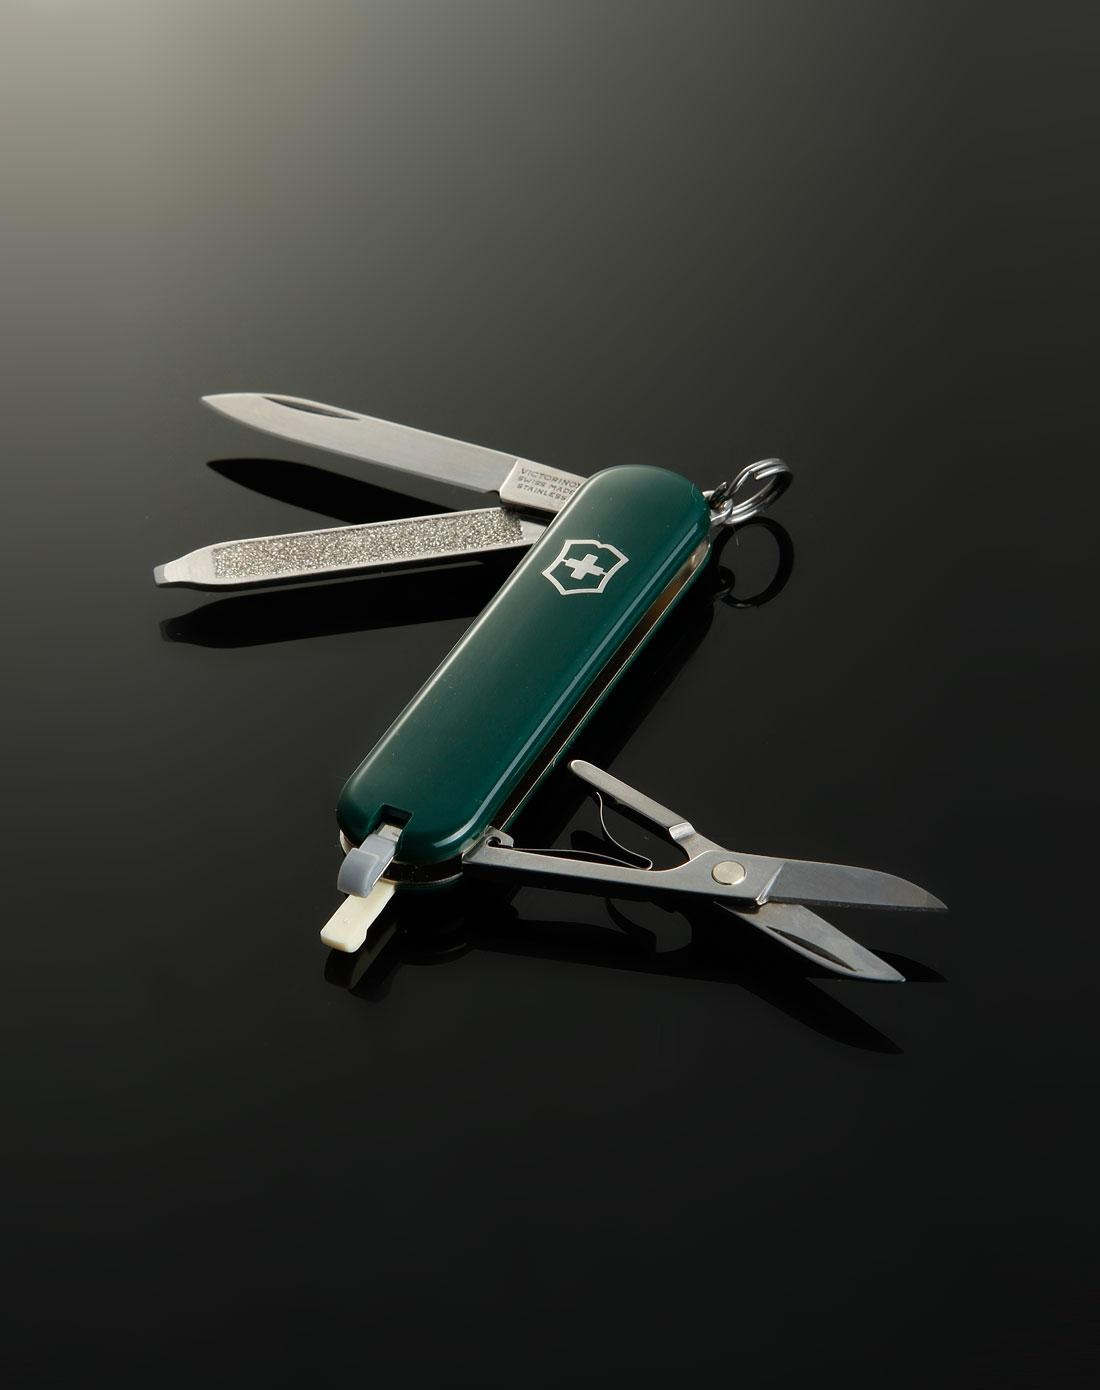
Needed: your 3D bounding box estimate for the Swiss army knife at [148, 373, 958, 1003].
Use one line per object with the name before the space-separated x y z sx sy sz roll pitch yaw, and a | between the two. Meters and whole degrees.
Swiss army knife | -0.044 -0.048 1.154 0.505 0.400 0.590 1 4 -7
